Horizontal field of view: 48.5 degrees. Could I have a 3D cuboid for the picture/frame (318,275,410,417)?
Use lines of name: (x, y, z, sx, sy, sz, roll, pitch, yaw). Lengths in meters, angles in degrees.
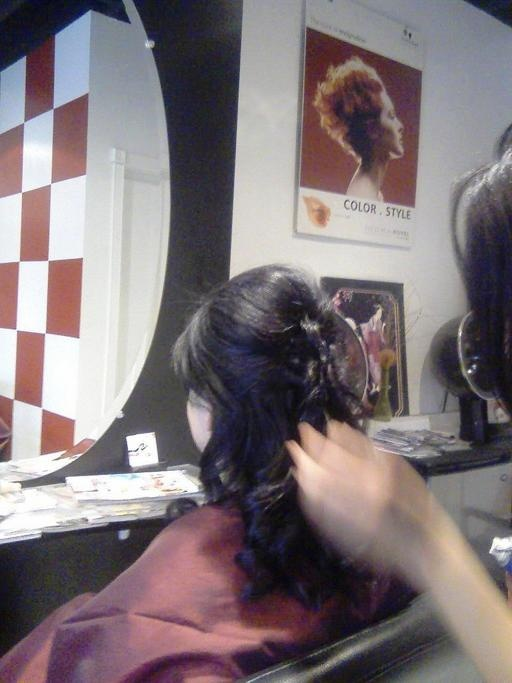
picture/frame: (0.240, -0.004, 1.217, 0.016, 0.425, 0.349, -12, -12, 44)
